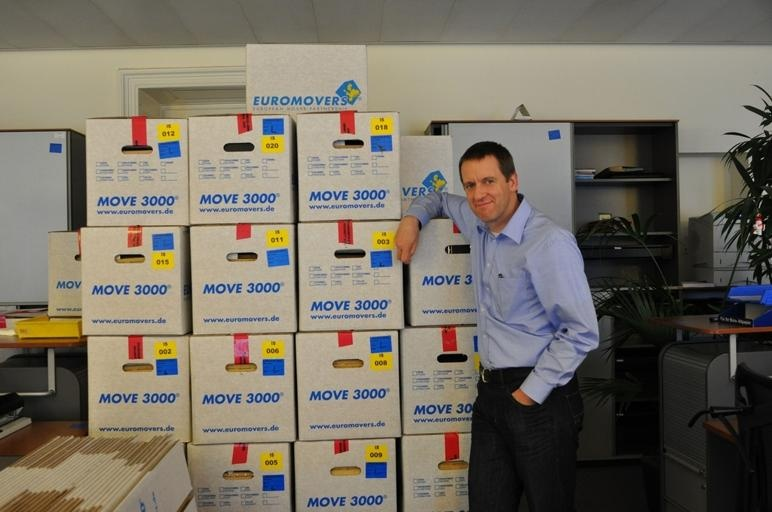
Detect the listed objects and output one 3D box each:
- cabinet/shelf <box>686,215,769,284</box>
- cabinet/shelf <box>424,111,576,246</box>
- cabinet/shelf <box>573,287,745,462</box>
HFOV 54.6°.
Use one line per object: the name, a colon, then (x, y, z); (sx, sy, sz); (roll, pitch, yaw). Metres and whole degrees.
cabinet/shelf: (2.747, -0.050, 6.190); (0.337, 0.595, 0.434); (0, -3, -16)
cabinet/shelf: (0.910, -0.473, 5.954); (1.122, 1.030, 0.601); (-1, -19, 4)
cabinet/shelf: (1.829, 0.790, 5.012); (0.719, 1.210, 1.280); (6, 10, 38)
